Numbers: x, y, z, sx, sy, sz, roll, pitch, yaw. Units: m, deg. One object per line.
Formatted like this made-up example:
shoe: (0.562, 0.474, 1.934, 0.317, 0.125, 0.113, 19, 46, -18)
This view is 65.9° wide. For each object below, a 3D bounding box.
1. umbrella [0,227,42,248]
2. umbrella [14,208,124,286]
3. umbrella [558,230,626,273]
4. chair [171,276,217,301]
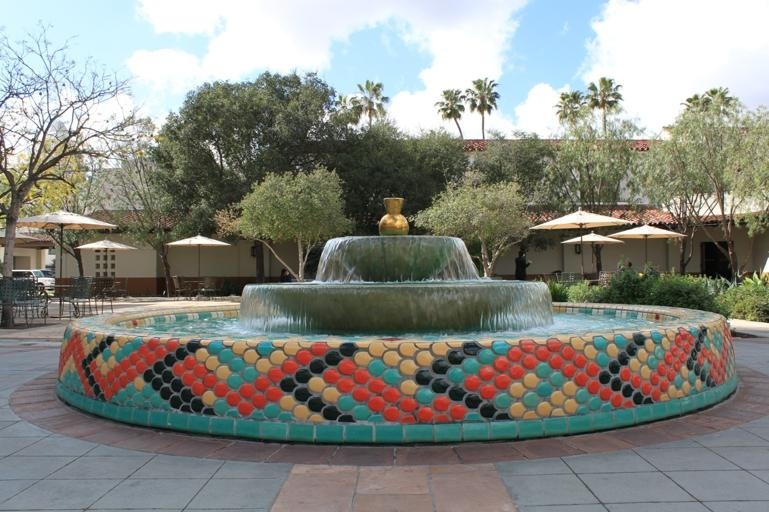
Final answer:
umbrella: (-17.638, -0.899, 29.248, 1.861, 0.868, 1.951, -2, -4, 5)
umbrella: (-10.993, -0.435, 20.413, 2.259, 1.703, 2.125, 10, 7, 40)
umbrella: (7.278, -0.428, 21.893, 2.348, 2.106, 2.594, 1, 3, 44)
chair: (-9.186, 1.882, 29.083, 1.680, 1.199, 1.772, 0, 0, 1)
